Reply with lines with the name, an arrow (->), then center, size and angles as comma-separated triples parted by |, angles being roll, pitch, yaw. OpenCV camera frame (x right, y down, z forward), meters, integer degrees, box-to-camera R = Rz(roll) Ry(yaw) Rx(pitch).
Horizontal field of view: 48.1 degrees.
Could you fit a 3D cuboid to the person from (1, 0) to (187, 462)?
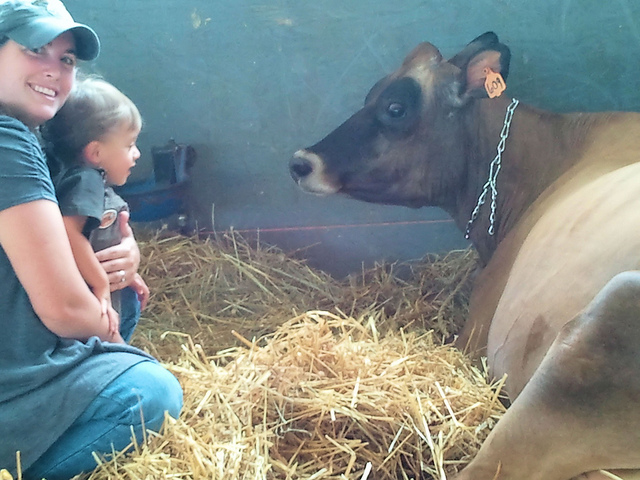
person -> -0.909, -0.006, 2.581 | 0.616, 1.428, 0.885 | -8, 32, -14
